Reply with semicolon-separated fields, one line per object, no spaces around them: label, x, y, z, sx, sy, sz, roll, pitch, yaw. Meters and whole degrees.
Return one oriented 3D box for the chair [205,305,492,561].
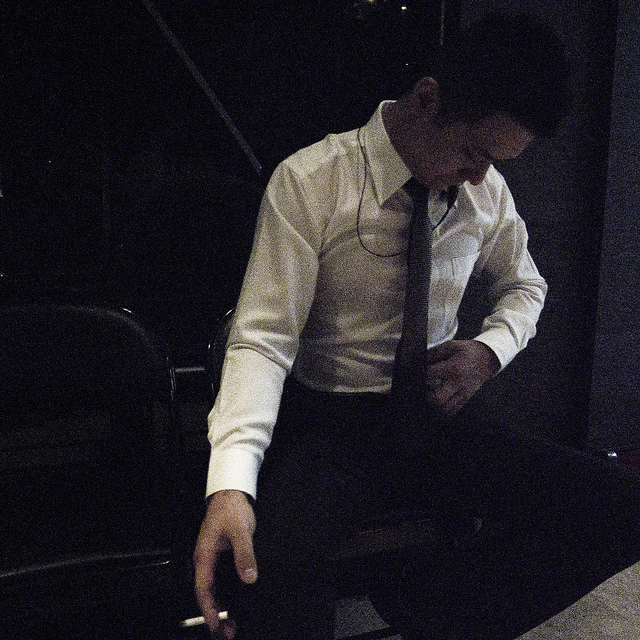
chair;0.051;0.173;0.843;0.183;0.200;0.161;-4;-18;-29

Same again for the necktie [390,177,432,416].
necktie;0.125;-0.029;0.877;0.039;0.298;0.040;5;1;-26
